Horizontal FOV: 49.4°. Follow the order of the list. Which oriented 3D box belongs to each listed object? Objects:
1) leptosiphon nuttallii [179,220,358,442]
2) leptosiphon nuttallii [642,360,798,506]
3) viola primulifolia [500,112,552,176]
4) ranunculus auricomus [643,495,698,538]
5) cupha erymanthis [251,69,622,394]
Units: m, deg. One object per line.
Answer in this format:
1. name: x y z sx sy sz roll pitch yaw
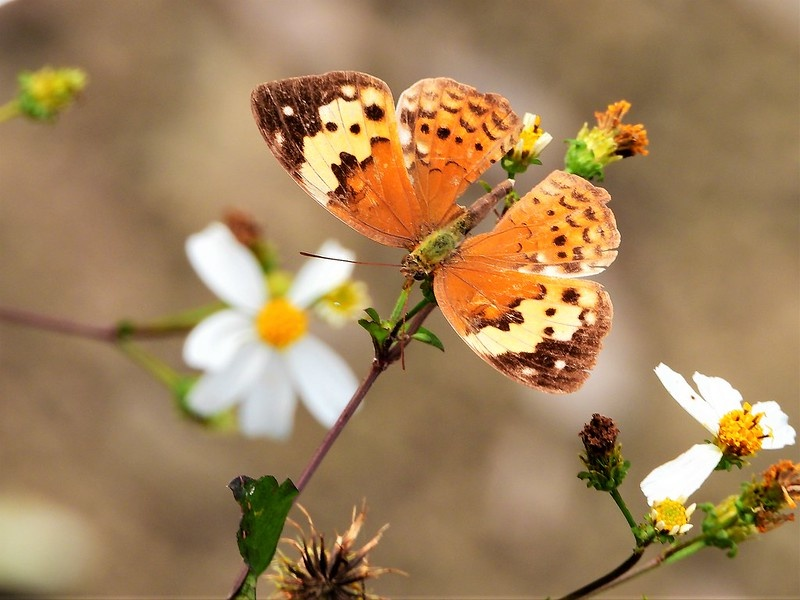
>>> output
1. leptosiphon nuttallii: -0.644 0.108 4.043 0.895 0.330 0.949 22 -105 -36
2. leptosiphon nuttallii: 1.280 0.600 3.571 0.598 0.581 0.258 -48 -20 -19
3. viola primulifolia: 0.551 -0.659 3.799 0.154 0.169 0.321 0 -70 -3
4. ranunculus auricomus: 1.072 0.856 3.430 0.144 0.150 0.086 -20 -34 -18
5. cupha erymanthis: 0.229 -0.426 3.608 1.624 0.717 0.792 35 -69 -15
